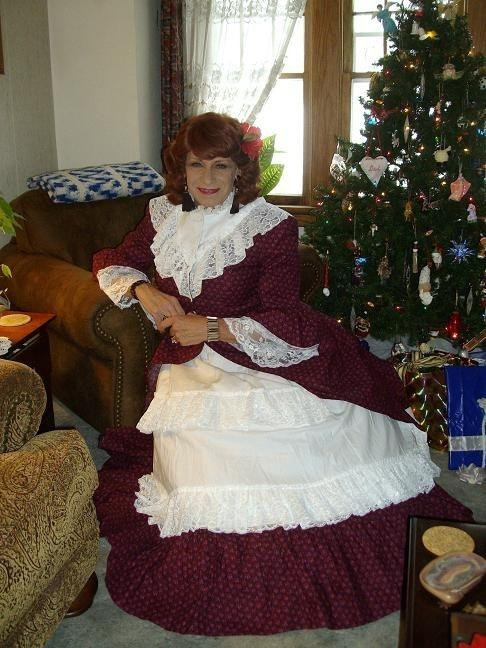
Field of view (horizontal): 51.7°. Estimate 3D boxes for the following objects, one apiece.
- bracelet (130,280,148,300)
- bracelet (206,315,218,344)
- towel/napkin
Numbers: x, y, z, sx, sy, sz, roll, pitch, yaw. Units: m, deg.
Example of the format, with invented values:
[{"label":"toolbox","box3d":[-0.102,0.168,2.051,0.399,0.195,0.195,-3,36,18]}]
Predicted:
[{"label":"bracelet","box3d":[-0.321,-0.099,1.511,0.057,0.054,0.015,-16,-12,-5]},{"label":"bracelet","box3d":[-0.077,0.009,1.327,0.035,0.054,0.056,3,-26,-3]},{"label":"towel/napkin","box3d":[-0.723,-0.763,2.632,0.615,0.160,0.380,-18,39,-36]}]
